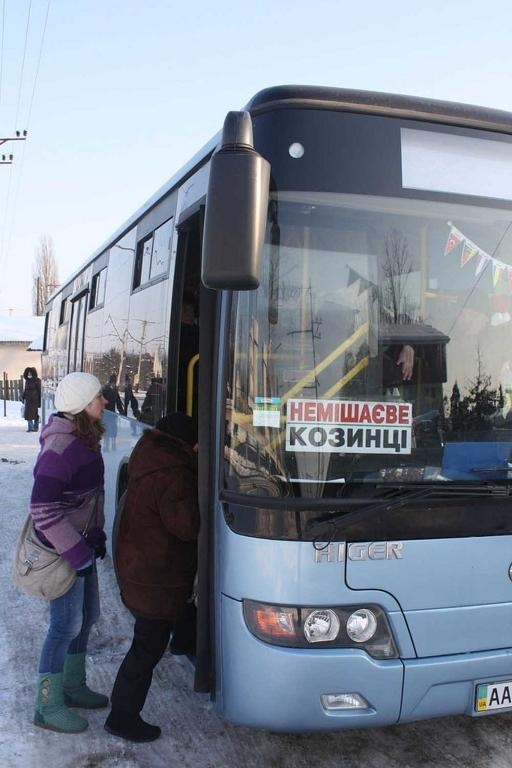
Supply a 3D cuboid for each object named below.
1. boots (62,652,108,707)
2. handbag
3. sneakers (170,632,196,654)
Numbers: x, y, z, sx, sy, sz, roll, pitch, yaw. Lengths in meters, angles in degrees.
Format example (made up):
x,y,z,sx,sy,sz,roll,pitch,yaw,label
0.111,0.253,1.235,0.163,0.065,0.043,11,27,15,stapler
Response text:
x,y,z,sx,sy,sz,roll,pitch,yaw,label
-0.915,1.617,3.402,0.259,0.301,0.121,0,2,0,boots
-1.066,0.849,3.111,0.265,0.424,0.215,19,4,11,handbag
-0.434,1.557,3.700,0.152,0.140,0.236,3,-26,-12,sneakers
